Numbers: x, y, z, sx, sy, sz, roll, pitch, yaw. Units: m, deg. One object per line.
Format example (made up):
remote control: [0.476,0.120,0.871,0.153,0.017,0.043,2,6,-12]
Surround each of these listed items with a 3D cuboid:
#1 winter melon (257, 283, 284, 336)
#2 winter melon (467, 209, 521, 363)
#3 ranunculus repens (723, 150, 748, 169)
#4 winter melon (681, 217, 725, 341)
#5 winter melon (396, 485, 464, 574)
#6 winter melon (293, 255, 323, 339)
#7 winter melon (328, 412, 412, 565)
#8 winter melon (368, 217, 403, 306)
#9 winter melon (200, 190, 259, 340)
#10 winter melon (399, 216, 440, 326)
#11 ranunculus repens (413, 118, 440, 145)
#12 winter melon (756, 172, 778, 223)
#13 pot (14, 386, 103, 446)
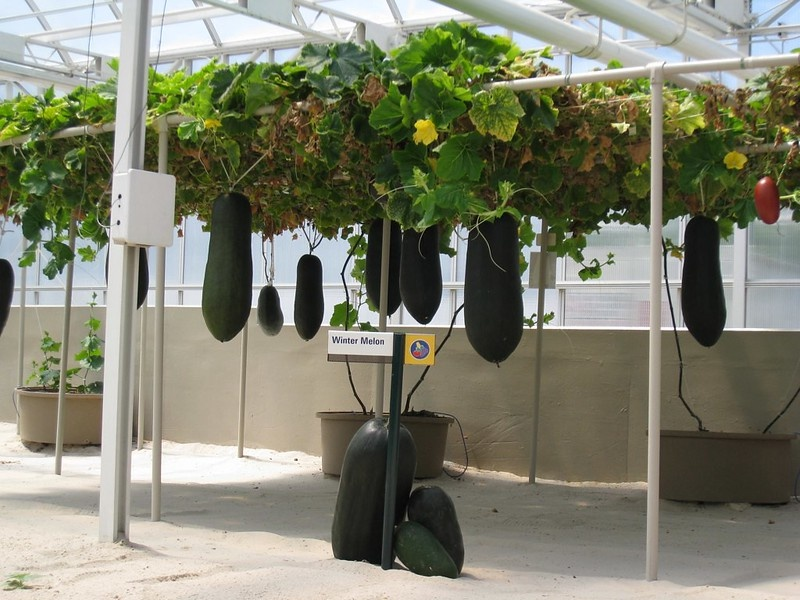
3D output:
winter melon: [-0.994,0.071,5.980,0.174,0.380,0.189,-1,10,2]
winter melon: [0.451,-0.068,3.768,0.256,0.692,0.189,-1,-1,1]
ranunculus repens: [1.788,-0.752,4.168,0.108,0.088,0.061,-2,-2,24]
winter melon: [1.734,-0.122,4.474,0.231,0.764,0.228,-1,-1,22]
winter melon: [0.137,1.032,3.543,0.289,0.385,0.164,-31,-2,5]
winter melon: [-0.672,-0.028,5.702,0.202,0.612,0.221,-1,-1,-3]
winter melon: [-0.136,0.880,3.625,0.361,0.642,0.264,-1,-1,21]
winter melon: [-0.116,-0.241,5.540,0.258,0.669,0.447,-1,-2,-3]
winter melon: [-0.914,-0.188,4.121,0.253,0.801,0.262,-1,-1,-13]
winter melon: [0.122,-0.153,4.553,0.245,0.583,0.348,-1,-1,0]
ranunculus repens: [0.117,-0.800,3.699,0.108,0.064,0.111,8,30,13]
winter melon: [1.735,-0.483,3.691,0.101,0.238,0.256,-2,-2,24]
pot: [-3.276,1.127,7.508,0.697,0.309,0.720,2,-5,0]
